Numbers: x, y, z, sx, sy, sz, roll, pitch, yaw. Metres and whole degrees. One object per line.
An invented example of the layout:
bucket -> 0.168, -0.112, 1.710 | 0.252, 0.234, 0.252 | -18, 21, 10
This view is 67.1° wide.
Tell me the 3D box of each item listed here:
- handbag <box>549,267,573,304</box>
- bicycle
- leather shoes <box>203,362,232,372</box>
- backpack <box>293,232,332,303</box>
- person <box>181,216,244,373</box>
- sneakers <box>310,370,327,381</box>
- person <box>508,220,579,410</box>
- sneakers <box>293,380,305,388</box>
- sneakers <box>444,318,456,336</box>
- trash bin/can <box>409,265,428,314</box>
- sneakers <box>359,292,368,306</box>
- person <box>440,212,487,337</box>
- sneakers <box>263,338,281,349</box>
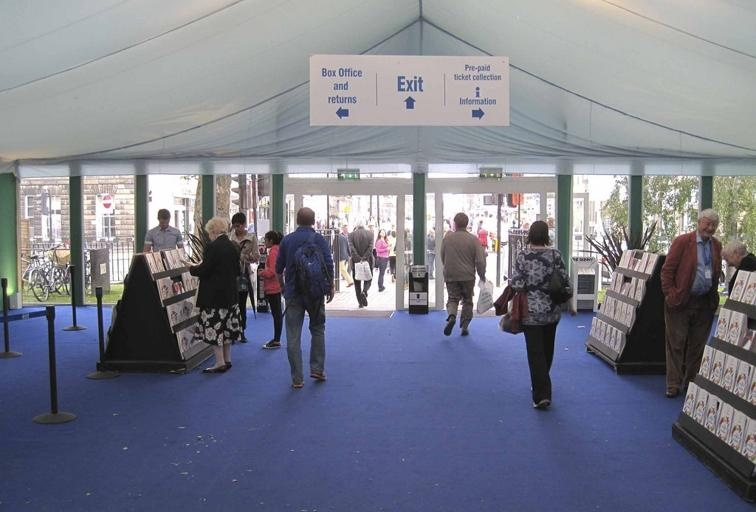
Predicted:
handbag -> 2.306, 0.388, 7.186 | 0.303, 0.477, 0.171 | -1, 7, 1
bicycle -> -8.243, 0.476, 14.498 | 2.217, 1.511, 1.155 | -7, 8, -42
leather shoes -> -2.436, 1.663, 8.568 | 0.396, 0.122, 0.148 | 3, -1, -8
backpack -> -0.907, 0.178, 7.852 | 0.526, 0.960, 0.306 | -2, 7, -13
person -> -2.372, 0.605, 8.280 | 0.679, 2.323, 0.591 | -3, 7, -15
sneakers -> -0.857, 1.719, 8.176 | 0.110, 0.123, 0.245 | -21, -33, 29
person -> 2.065, 0.738, 7.258 | 0.694, 2.318, 0.505 | -4, 8, -25
sneakers -> -1.102, 1.766, 7.896 | 0.182, 0.096, 0.155 | -3, 9, -16
sneakers -> 1.372, 1.345, 10.783 | 0.109, 0.349, 0.139 | 15, 1, -12
trash bin/can -> 0.928, 0.786, 13.197 | 0.452, 1.073, 0.331 | 0, 7, 3
sneakers -> -0.355, 1.042, 13.656 | 0.109, 0.413, 0.150 | -4, 4, -19
person -> 1.609, 0.361, 10.871 | 0.863, 2.346, 0.860 | -1, 7, -6
sneakers -> -1.861, 1.546, 9.976 | 0.304, 0.152, 0.129 | 3, -4, -7
